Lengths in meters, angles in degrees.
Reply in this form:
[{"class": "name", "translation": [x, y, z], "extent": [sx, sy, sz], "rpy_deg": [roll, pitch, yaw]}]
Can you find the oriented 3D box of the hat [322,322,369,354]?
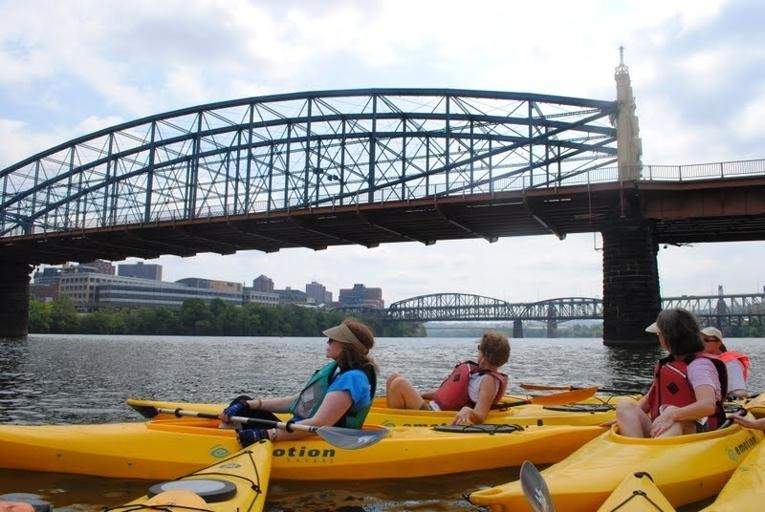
[{"class": "hat", "translation": [-0.618, 1.468, 15.893], "extent": [0.772, 0.283, 0.495], "rpy_deg": [24, -6, -9]}]
